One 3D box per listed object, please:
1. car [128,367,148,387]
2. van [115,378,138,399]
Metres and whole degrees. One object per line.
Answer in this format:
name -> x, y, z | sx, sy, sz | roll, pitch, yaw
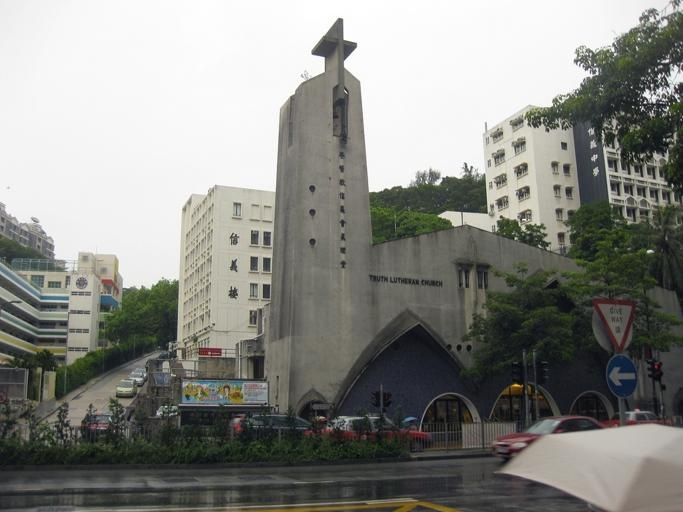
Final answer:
car -> -21.580, 12.925, 79.612 | 1.257, 1.105, 2.780 | -1, -15, -9
van -> -20.832, 12.955, 72.869 | 1.545, 1.424, 2.759 | 0, -19, -9
